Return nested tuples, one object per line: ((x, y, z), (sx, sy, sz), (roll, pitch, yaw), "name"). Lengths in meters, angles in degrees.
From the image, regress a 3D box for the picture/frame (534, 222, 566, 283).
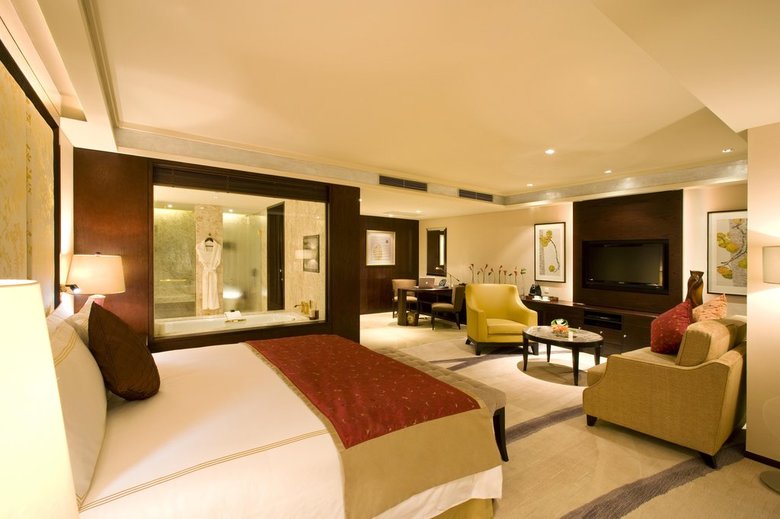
((2.711, -0.126, 8.548), (0.053, 1.016, 0.616), (-1, 2, -31), "picture/frame")

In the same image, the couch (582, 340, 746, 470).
((2.529, 1.198, 4.671), (1.090, 0.660, 0.991), (6, -4, -41), "couch")

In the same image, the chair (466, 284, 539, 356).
((1.659, 0.894, 7.622), (1.004, 1.110, 1.038), (1, -10, -3), "chair")

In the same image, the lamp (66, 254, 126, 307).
((-2.905, 0.170, 4.934), (0.463, 0.456, 0.442), (0, 1, 1), "lamp")

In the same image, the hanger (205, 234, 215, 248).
((-2.210, -0.238, 6.137), (0.178, 0.198, 0.031), (0, 2, -42), "hanger")
